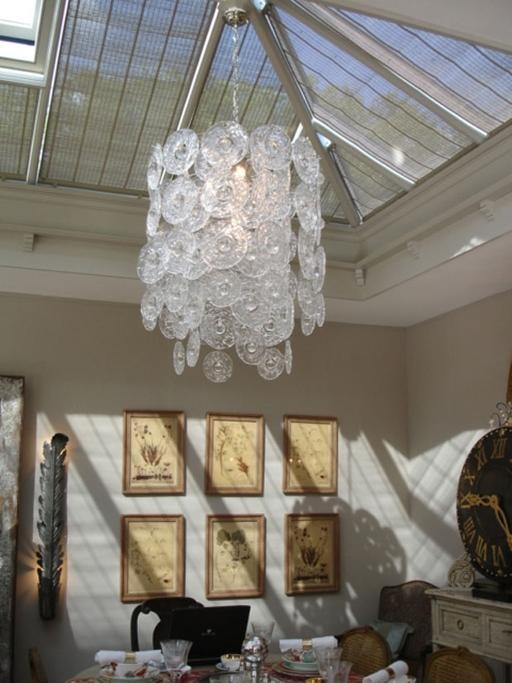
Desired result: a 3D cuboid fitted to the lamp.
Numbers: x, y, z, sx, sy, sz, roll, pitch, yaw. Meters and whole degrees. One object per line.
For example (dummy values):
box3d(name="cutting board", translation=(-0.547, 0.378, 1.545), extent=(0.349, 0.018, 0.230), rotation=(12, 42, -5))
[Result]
box3d(name="lamp", translation=(-0.108, -0.812, 2.822), extent=(0.853, 1.911, 1.099), rotation=(1, -10, -11))

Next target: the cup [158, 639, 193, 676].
box3d(name="cup", translation=(-0.317, 1.244, 2.429), extent=(0.163, 0.142, 0.160), rotation=(-1, -15, 0))
